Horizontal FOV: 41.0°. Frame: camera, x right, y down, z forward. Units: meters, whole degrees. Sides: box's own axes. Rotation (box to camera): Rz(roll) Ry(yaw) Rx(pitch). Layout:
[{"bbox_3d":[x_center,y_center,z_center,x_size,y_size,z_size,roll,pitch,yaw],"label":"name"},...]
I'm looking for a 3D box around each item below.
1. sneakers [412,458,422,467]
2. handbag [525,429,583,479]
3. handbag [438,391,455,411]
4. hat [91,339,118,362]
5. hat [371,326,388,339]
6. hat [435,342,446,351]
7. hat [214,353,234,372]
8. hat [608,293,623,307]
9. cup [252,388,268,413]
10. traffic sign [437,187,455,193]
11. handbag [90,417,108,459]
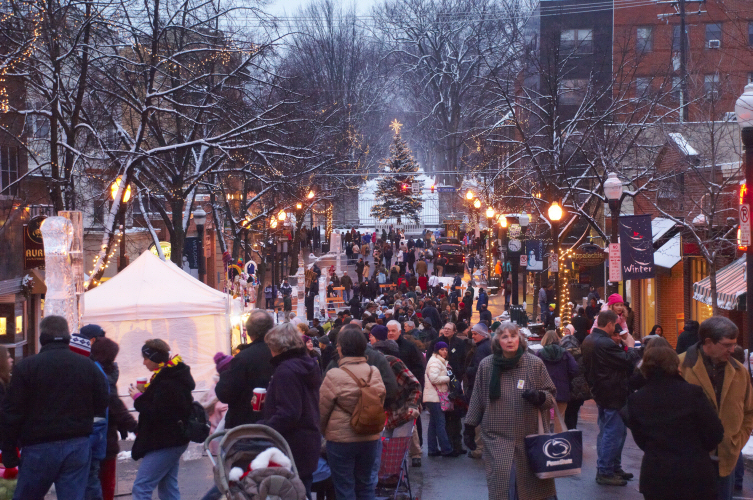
[{"bbox_3d":[0.698,3.779,17.754,0.133,0.134,0.135,1,1,6],"label":"sneakers"},{"bbox_3d":[2.524,2.963,14.518,0.649,0.471,0.244,-5,-16,-5],"label":"handbag"},{"bbox_3d":[1.246,2.785,18.354,0.284,0.343,0.144,-9,-15,-30],"label":"handbag"},{"bbox_3d":[-4.073,1.489,15.071,0.301,0.380,0.379,2,15,-20],"label":"hat"},{"bbox_3d":[0.011,1.423,17.219,0.190,0.233,0.246,-7,16,-39],"label":"hat"},{"bbox_3d":[1.160,1.816,18.638,0.155,0.124,0.159,0,-3,16],"label":"hat"},{"bbox_3d":[-2.628,1.933,17.067,0.247,0.331,0.729,-2,-2,-9],"label":"hat"},{"bbox_3d":[4.387,0.932,18.298,0.265,0.293,0.323,-4,0,-7],"label":"hat"},{"bbox_3d":[-1.677,2.147,14.224,0.228,0.363,0.487,-2,-2,-8],"label":"cup"},{"bbox_3d":[7.369,-6.552,111.639,1.657,0.487,1.741,-3,-3,8],"label":"traffic sign"},{"bbox_3d":[-4.077,2.774,14.759,0.276,0.637,0.165,-1,-2,-31],"label":"handbag"}]
